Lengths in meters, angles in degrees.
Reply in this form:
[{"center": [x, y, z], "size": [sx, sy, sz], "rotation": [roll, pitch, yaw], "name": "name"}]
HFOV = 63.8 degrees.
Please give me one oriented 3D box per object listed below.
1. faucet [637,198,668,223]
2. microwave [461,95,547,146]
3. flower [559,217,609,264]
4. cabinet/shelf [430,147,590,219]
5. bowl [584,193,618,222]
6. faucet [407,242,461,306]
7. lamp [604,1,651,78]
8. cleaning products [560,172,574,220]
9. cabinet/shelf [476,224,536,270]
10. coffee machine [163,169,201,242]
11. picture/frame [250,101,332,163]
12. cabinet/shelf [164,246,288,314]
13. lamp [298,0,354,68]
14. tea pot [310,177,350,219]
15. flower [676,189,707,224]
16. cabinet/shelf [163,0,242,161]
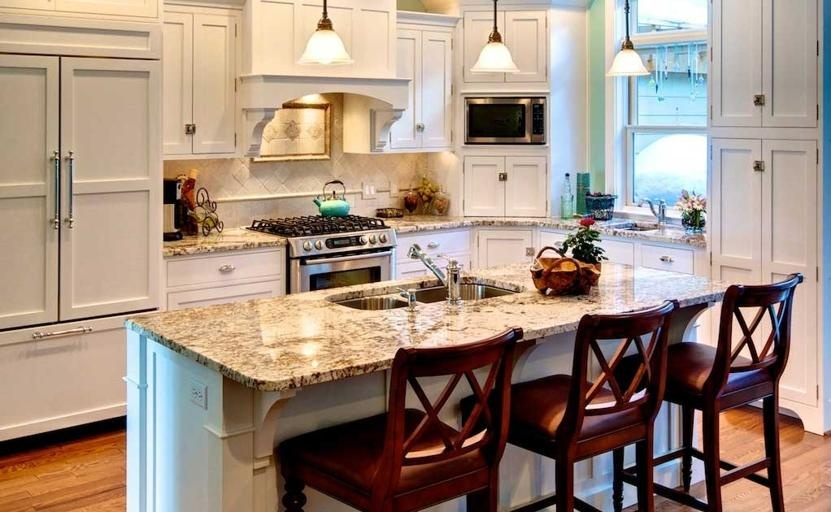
[{"center": [2.292, -0.468, 6.451], "size": [0.261, 0.231, 0.484], "rotation": [4, 15, 18], "name": "faucet"}, {"center": [0.848, -1.393, 6.899], "size": [0.871, 0.503, 0.492], "rotation": [-2, 7, -7], "name": "microwave"}, {"center": [1.233, -0.107, 4.878], "size": [0.392, 0.421, 0.332], "rotation": [-3, 10, -1], "name": "flower"}, {"center": [1.104, -0.768, 7.063], "size": [1.197, 0.722, 0.673], "rotation": [6, 9, 39], "name": "cabinet/shelf"}, {"center": [1.807, -0.479, 6.498], "size": [0.290, 0.217, 0.258], "rotation": [0, 4, 11], "name": "bowl"}, {"center": [0.129, 0.094, 4.073], "size": [0.414, 0.282, 0.121], "rotation": [20, 34, 36], "name": "faucet"}, {"center": [1.875, -1.954, 5.800], "size": [0.356, 0.745, 1.936], "rotation": [4, 15, 16], "name": "lamp"}, {"center": [1.534, -0.624, 6.778], "size": [0.114, 0.441, 0.270], "rotation": [2, 14, 11], "name": "cleaning products"}, {"center": [0.943, -0.096, 6.515], "size": [0.701, 0.636, 0.381], "rotation": [-1, 0, -5], "name": "cabinet/shelf"}, {"center": [-2.014, -0.458, 5.762], "size": [0.223, 0.542, 0.522], "rotation": [-1, 14, -4], "name": "coffee machine"}, {"center": [-1.192, -1.168, 6.222], "size": [0.629, 0.413, 0.072], "rotation": [-5, 7, -40], "name": "picture/frame"}, {"center": [-1.626, 0.008, 5.556], "size": [0.822, 0.748, 0.495], "rotation": [-4, 7, -30], "name": "cabinet/shelf"}, {"center": [-0.641, -1.597, 4.708], "size": [0.293, 0.439, 0.282], "rotation": [-7, 15, -25], "name": "lamp"}, {"center": [-0.822, -0.542, 6.321], "size": [0.377, 0.325, 0.265], "rotation": [-3, 13, -20], "name": "tea pot"}, {"center": [2.482, -0.385, 5.875], "size": [0.255, 0.246, 0.219], "rotation": [-17, -9, 12], "name": "flower"}, {"center": [-1.789, -1.476, 5.601], "size": [0.694, 1.259, 0.248], "rotation": [-6, 15, -21], "name": "cabinet/shelf"}]
